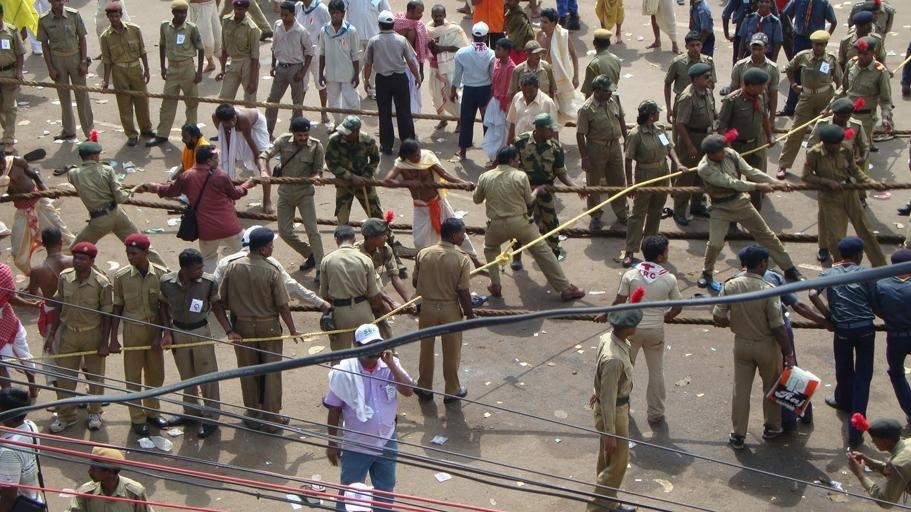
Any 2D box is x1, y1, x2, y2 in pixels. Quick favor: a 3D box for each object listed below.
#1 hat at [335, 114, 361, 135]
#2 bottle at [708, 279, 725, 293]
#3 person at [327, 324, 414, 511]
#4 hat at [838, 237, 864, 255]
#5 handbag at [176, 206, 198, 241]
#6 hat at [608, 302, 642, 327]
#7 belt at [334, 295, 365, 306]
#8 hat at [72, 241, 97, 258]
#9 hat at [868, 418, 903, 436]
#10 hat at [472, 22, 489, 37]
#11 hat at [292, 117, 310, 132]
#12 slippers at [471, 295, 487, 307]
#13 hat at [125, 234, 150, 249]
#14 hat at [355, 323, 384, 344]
[{"bbox_3d":[-1.643,-2.090,22.175,0.309,0.207,0.428,35,27,24],"label":"hat"},{"bbox_3d":[4.133,0.502,21.848,0.224,0.168,0.329,3,10,25],"label":"bottle"},{"bbox_3d":[-1.166,2.205,18.583,1.170,2.506,1.511,-1,9,-3],"label":"person"},{"bbox_3d":[5.722,-0.124,19.974,0.290,0.222,0.317,-3,-7,23],"label":"hat"},{"bbox_3d":[-4.169,-0.495,21.419,0.329,0.552,0.195,-1,9,-3],"label":"handbag"},{"bbox_3d":[2.336,0.839,18.999,0.434,0.286,0.727,0,9,6],"label":"hat"},{"bbox_3d":[-1.554,0.667,20.113,0.482,0.149,0.089,-2,9,-9],"label":"belt"},{"bbox_3d":[-5.382,-0.075,19.943,0.351,0.217,0.304,-4,9,-20],"label":"hat"},{"bbox_3d":[5.765,2.321,18.473,0.323,0.088,0.283,2,13,19],"label":"hat"},{"bbox_3d":[0.449,-4.048,24.569,0.275,0.339,0.132,-2,-26,10],"label":"hat"},{"bbox_3d":[-2.483,-2.075,21.899,0.285,0.214,0.197,-1,9,1],"label":"hat"},{"bbox_3d":[0.356,0.734,21.833,0.163,0.062,0.208,12,19,33],"label":"slippers"},{"bbox_3d":[-4.616,-0.227,19.875,0.329,0.110,0.231,16,12,17],"label":"hat"},{"bbox_3d":[-1.198,1.084,18.627,0.316,0.301,0.535,-1,9,-2],"label":"hat"}]
